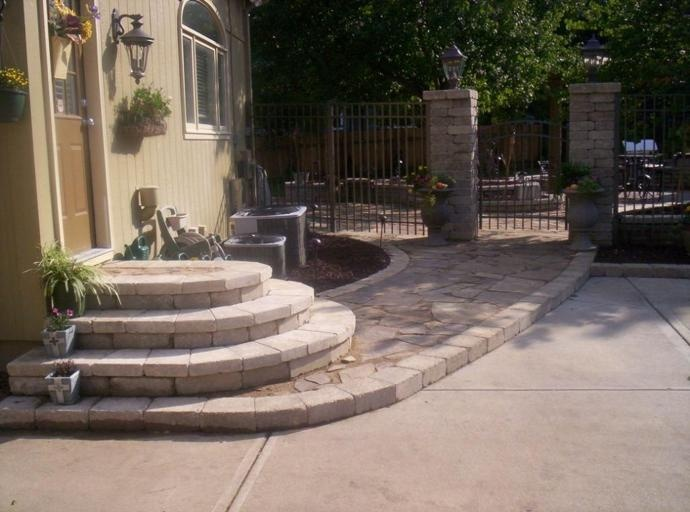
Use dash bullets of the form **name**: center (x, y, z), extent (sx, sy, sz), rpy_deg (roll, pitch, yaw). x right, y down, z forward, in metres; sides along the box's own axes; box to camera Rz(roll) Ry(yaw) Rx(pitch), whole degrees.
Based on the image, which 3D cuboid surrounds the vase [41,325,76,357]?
- **vase**: center (-2.290, 0.677, 5.118), extent (0.193, 0.221, 0.241), rpy_deg (0, 0, -5)

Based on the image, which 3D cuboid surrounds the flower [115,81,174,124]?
- **flower**: center (-2.302, -1.719, 7.293), extent (0.467, 0.392, 0.527), rpy_deg (-6, 18, 15)

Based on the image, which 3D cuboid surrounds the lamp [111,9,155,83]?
- **lamp**: center (-2.337, -2.351, 7.072), extent (0.403, 0.823, 0.355), rpy_deg (-1, 4, -15)

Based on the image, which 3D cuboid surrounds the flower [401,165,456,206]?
- **flower**: center (1.397, -1.156, 10.753), extent (0.686, 0.565, 0.716), rpy_deg (-4, 10, -17)

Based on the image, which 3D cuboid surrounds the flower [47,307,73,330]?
- **flower**: center (-2.335, 0.476, 5.199), extent (0.171, 0.144, 0.196), rpy_deg (5, 16, 6)

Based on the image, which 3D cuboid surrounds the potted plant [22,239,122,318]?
- **potted plant**: center (-2.369, 0.186, 5.409), extent (0.487, 0.450, 0.627), rpy_deg (5, -3, 8)

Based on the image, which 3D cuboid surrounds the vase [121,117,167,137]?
- **vase**: center (-2.290, -1.475, 7.319), extent (0.256, 0.192, 0.548), rpy_deg (2, 13, 11)
